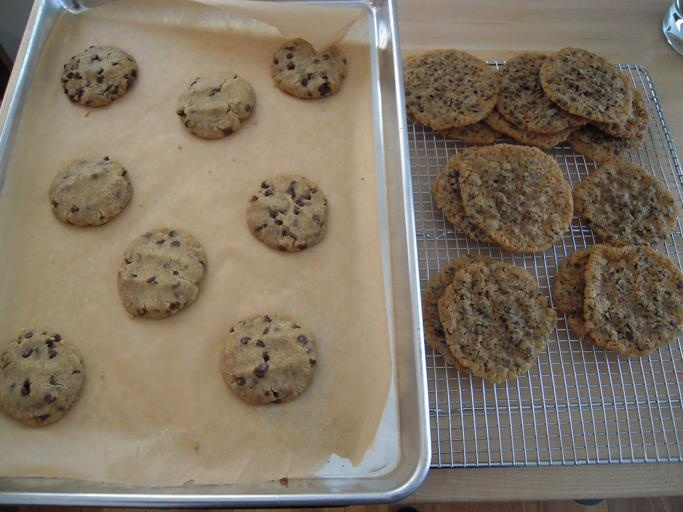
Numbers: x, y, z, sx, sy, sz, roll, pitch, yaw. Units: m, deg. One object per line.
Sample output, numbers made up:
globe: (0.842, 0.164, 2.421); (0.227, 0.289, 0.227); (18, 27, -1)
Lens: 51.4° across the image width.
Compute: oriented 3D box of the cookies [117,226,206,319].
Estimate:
cookies: (-0.695, 0.069, 2.768); (0.334, 0.062, 0.363); (2, 78, -1)

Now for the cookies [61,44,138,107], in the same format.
cookies: (-1.014, -0.746, 2.987); (0.310, 0.054, 0.248); (-3, 79, -2)

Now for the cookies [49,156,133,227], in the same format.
cookies: (-1.001, -0.254, 2.842); (0.304, 0.054, 0.287); (-1, 78, -2)

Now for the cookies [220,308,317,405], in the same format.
cookies: (-0.277, 0.390, 2.688); (0.347, 0.044, 0.329); (3, 78, -1)

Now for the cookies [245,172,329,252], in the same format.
cookies: (-0.214, -0.175, 2.866); (0.331, 0.043, 0.323); (15, 78, 1)
